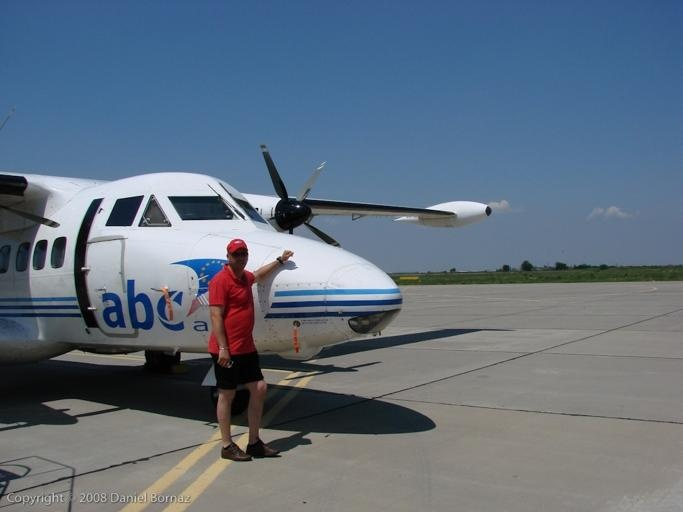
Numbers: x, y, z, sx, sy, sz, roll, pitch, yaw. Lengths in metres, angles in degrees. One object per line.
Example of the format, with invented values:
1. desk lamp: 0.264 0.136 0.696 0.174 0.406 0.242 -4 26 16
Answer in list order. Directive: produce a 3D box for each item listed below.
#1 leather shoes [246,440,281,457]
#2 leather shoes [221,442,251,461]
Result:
1. leather shoes: -0.925 2.240 6.286 0.535 0.140 0.140 -1 -7 8
2. leather shoes: -1.206 2.231 6.165 0.430 0.119 0.154 -1 -3 26
